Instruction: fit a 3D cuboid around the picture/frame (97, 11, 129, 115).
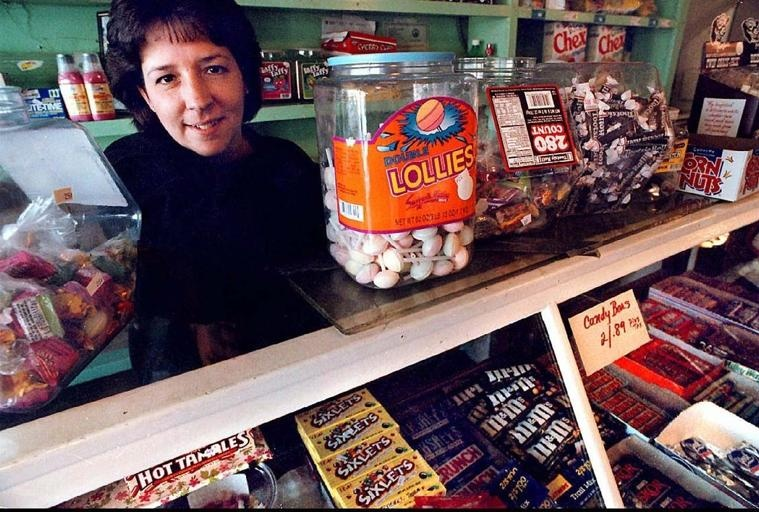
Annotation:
[{"bbox_3d":[-0.778,-0.589,1.540,0.060,0.285,0.129,-13,25,-32],"label":"picture/frame"}]
